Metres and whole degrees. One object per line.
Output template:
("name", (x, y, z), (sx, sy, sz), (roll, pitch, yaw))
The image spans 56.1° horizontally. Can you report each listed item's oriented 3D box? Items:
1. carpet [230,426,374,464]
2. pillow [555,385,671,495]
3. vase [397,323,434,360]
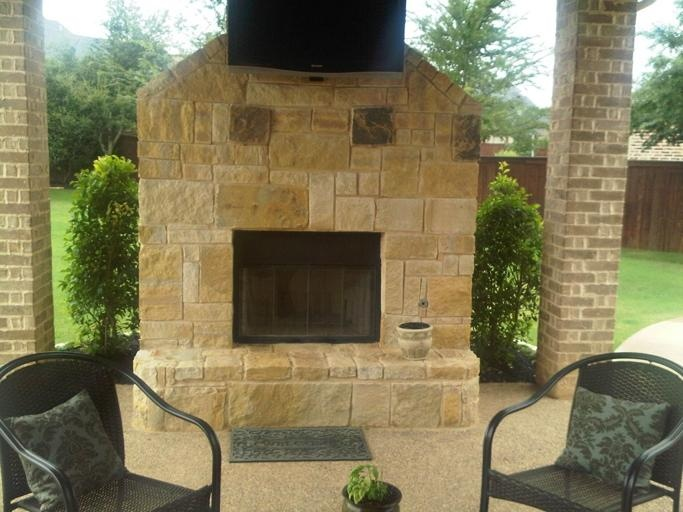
("carpet", (-0.305, 1.388, 4.746), (1.034, 0.130, 0.450), (1, 1, -5))
("pillow", (1.573, 1.070, 3.746), (0.576, 0.476, 0.320), (6, 3, 39))
("vase", (0.580, 0.672, 5.035), (0.279, 0.225, 0.281), (0, 0, -2))
